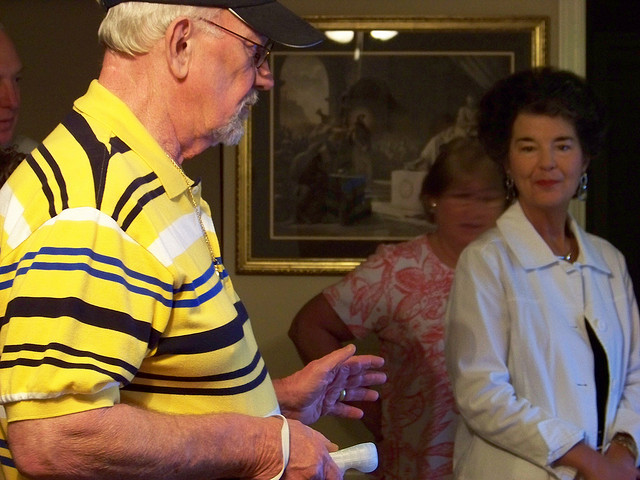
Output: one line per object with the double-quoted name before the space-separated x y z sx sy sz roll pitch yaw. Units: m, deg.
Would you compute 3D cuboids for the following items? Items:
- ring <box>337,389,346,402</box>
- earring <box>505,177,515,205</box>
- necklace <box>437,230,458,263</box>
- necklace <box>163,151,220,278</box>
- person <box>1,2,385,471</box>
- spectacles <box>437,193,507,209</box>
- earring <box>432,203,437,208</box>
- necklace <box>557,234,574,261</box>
"ring" 0.053 0.379 1.658 0.006 0.023 0.023 19 -33 6
"earring" 0.562 -0.134 2.007 0.022 0.085 0.142 -2 -9 15
"necklace" 0.422 0.021 2.292 0.020 0.089 0.084 -27 -46 6
"necklace" -0.241 -0.040 1.374 0.059 0.282 0.038 -23 23 -4
"person" -0.216 0.081 1.779 0.751 1.355 1.072 0 3 -8
"spectacles" 0.522 -0.133 2.321 0.227 0.060 0.056 -1 -9 6
"earring" 0.404 -0.126 2.406 0.008 0.010 0.008 5 8 35
"necklace" 0.682 0.022 1.894 0.078 0.066 0.013 3 -6 -9
